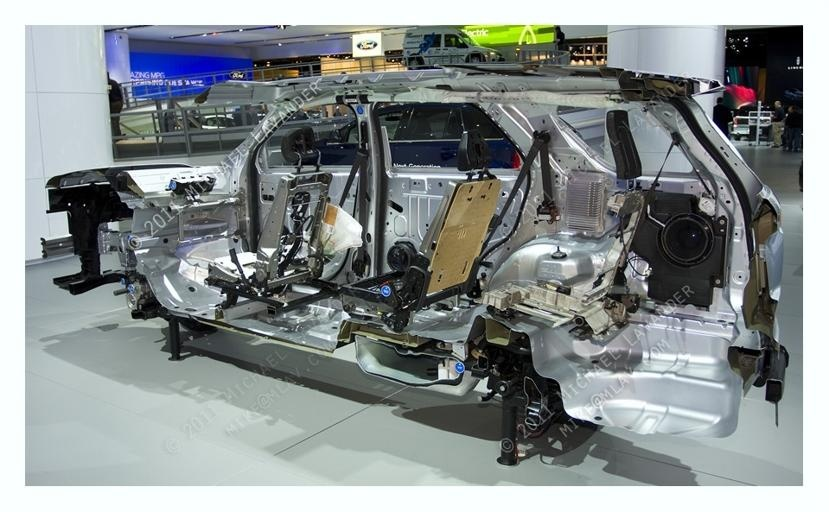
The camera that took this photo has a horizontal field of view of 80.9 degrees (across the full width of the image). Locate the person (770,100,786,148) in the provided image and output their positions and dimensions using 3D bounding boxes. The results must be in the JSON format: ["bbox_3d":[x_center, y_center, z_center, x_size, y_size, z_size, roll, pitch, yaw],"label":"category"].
[{"bbox_3d":[10.986,-3.911,14.791,0.404,1.219,2.349,10,20,34],"label":"person"}]

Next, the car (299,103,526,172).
[{"bbox_3d":[-0.126,-1.688,6.734,2.829,0.887,1.247,6,13,17],"label":"car"}]

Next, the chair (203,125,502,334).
[{"bbox_3d":[-0.685,-0.372,5.401,3.395,2.274,1.673,10,19,32],"label":"chair"}]

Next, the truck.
[{"bbox_3d":[0.835,-6.265,14.326,2.481,1.221,2.080,1,16,11],"label":"truck"}]

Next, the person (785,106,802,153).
[{"bbox_3d":[11.019,-3.681,14.180,0.482,1.305,2.263,11,20,36],"label":"person"}]
